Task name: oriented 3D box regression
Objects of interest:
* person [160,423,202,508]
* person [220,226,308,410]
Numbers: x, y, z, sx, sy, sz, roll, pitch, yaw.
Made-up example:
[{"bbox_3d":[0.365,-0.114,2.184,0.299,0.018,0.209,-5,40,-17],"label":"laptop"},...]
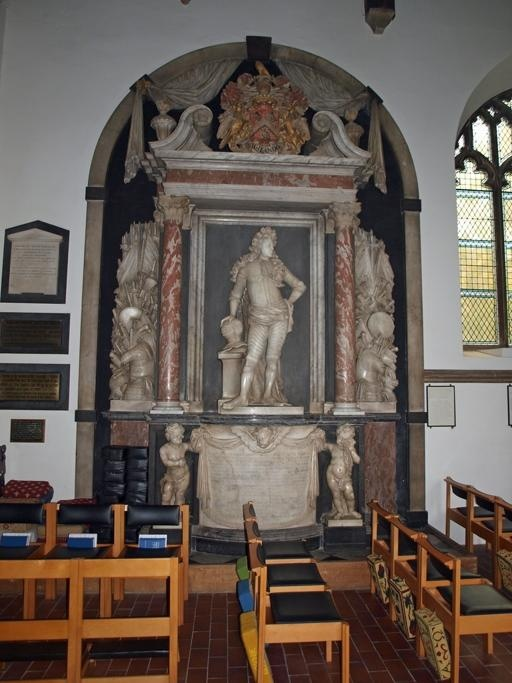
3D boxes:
[{"bbox_3d":[-0.696,1.182,6.023,0.389,0.881,0.250,-1,12,-4],"label":"person"},{"bbox_3d":[0.072,-0.264,6.523,0.779,1.790,0.630,0,-2,-4],"label":"person"}]
